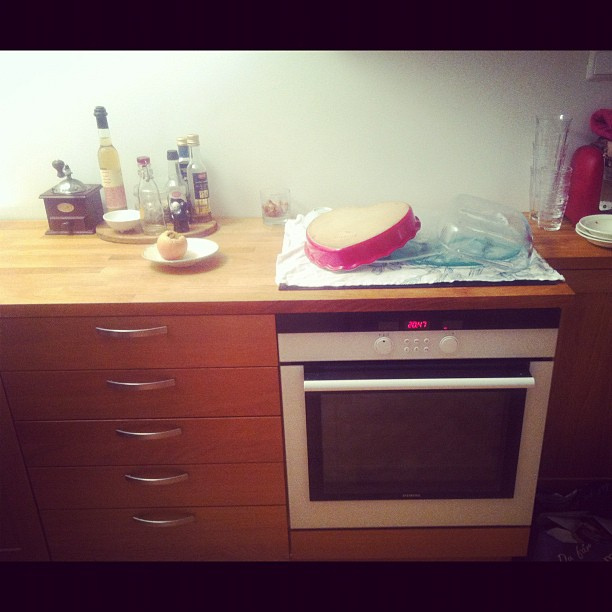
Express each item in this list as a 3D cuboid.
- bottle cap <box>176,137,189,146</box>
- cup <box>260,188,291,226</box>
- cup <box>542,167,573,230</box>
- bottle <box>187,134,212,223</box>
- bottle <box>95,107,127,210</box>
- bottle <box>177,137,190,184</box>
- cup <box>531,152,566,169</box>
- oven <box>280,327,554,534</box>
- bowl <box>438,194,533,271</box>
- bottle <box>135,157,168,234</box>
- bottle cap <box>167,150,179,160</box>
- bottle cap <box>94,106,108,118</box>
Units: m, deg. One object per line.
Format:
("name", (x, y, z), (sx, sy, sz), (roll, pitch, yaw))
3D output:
("bottle cap", (-0.342, -0.451, 1.684), (0.026, 0.015, 0.022), (-1, 38, -3))
("cup", (-0.064, -0.295, 1.830), (0.119, 0.113, 0.105), (0, 29, 1))
("cup", (0.676, -0.294, 1.660), (0.060, 0.164, 0.093), (5, 27, 19))
("bottle", (-0.306, -0.372, 1.771), (0.081, 0.234, 0.059), (-3, 33, -9))
("bottle", (-0.560, -0.409, 1.732), (0.057, 0.294, 0.061), (-3, 26, 2))
("bottle", (-0.343, -0.408, 1.723), (0.033, 0.127, 0.039), (-11, 27, -13))
("cup", (0.681, -0.403, 1.711), (0.073, 0.043, 0.102), (1, 23, 9))
("oven", (0.250, 0.286, 1.704), (0.810, 0.615, 0.481), (-1, 27, 1))
("bowl", (0.452, -0.191, 1.540), (0.220, 0.107, 0.328), (4, 23, 16))
("bottle", (-0.446, -0.316, 1.723), (0.076, 0.212, 0.124), (-10, 26, -11))
("bottle cap", (-0.355, -0.403, 1.642), (0.035, 0.022, 0.030), (-1, 33, 0))
("bottle cap", (-0.561, -0.525, 1.662), (0.030, 0.029, 0.036), (-10, 24, -14))
